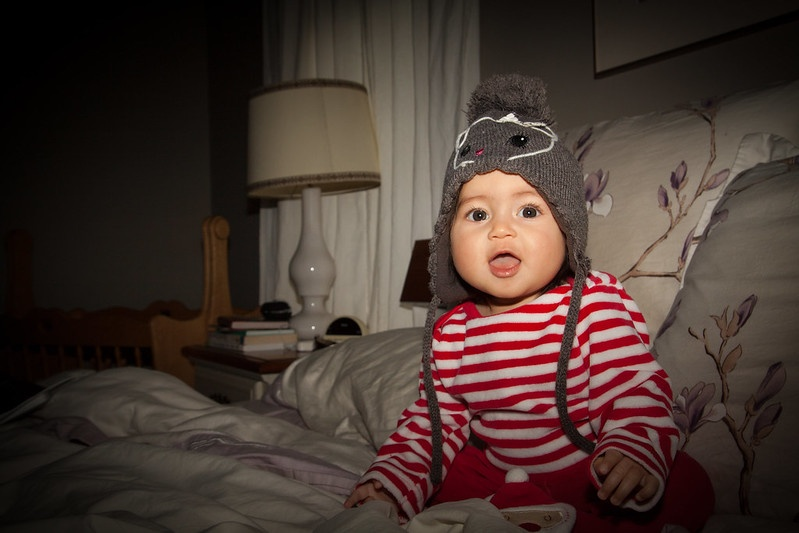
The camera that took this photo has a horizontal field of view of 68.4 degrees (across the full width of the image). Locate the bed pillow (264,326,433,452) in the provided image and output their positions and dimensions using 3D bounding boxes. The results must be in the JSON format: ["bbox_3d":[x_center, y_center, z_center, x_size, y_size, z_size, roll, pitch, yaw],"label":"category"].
[{"bbox_3d":[-0.134,0.340,1.746,0.356,0.091,0.346,-17,19,-37],"label":"bed pillow"}]

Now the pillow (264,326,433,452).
[{"bbox_3d":[-0.140,0.342,1.742,0.356,0.091,0.346,-17,19,-37],"label":"pillow"}]
